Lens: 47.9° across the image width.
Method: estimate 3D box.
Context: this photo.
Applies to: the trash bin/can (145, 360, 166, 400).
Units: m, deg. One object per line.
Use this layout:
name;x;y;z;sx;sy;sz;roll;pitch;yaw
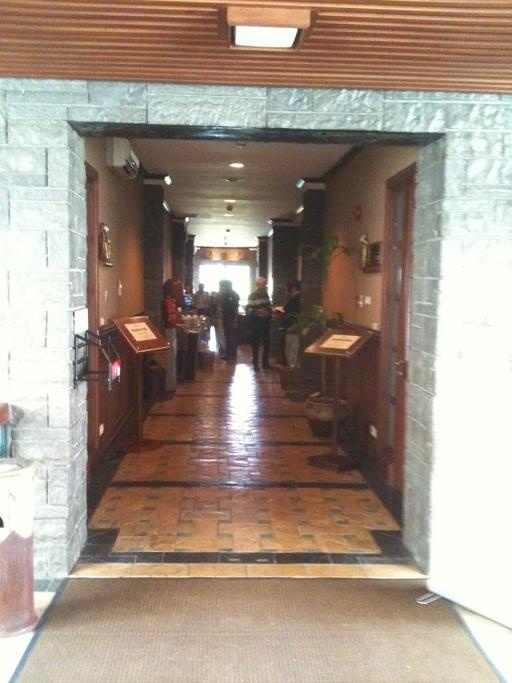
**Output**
trash bin/can;-1.216;0.455;6.905;0.248;0.478;0.407;1;4;-10
